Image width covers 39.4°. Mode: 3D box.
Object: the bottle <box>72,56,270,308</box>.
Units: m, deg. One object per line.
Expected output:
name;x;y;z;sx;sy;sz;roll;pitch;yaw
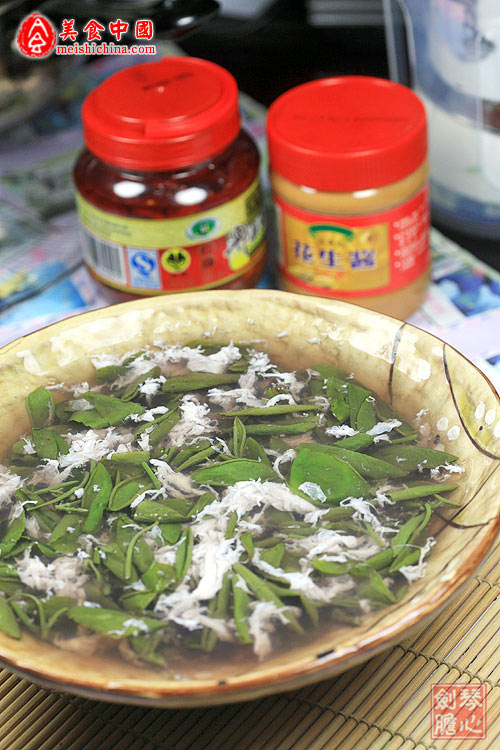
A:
bottle;-0.061;-0.143;0.530;0.148;0.150;0.134;-15;50;-12

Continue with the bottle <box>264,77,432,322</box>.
bottle;0.077;-0.122;0.533;0.122;0.162;0.114;-5;46;5
